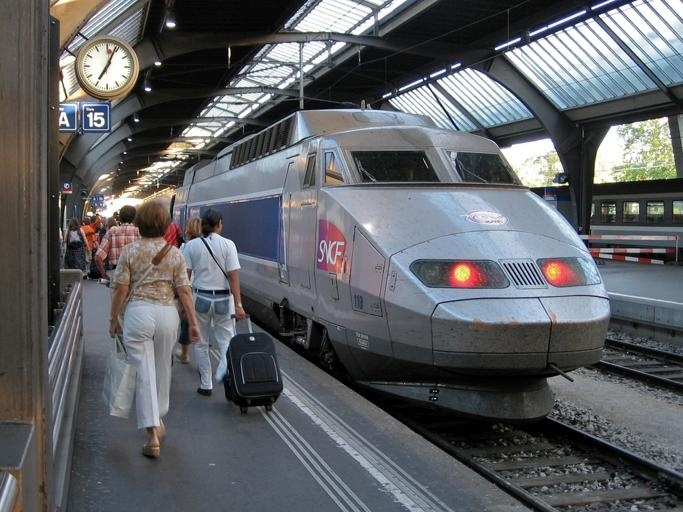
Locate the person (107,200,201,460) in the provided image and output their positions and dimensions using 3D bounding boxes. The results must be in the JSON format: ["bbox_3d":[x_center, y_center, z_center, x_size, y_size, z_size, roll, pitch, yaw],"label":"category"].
[{"bbox_3d":[-1.531,0.552,3.940,0.884,1.842,0.837,4,12,-26],"label":"person"}]

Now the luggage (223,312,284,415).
[{"bbox_3d":[-0.872,1.161,4.778,0.522,0.756,0.404,-1,5,-12],"label":"luggage"}]

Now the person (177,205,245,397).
[{"bbox_3d":[-1.388,0.471,5.287,0.888,1.883,0.720,2,7,-24],"label":"person"}]

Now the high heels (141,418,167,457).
[{"bbox_3d":[-1.549,1.468,3.865,0.130,0.204,0.341,4,-2,-24],"label":"high heels"}]
